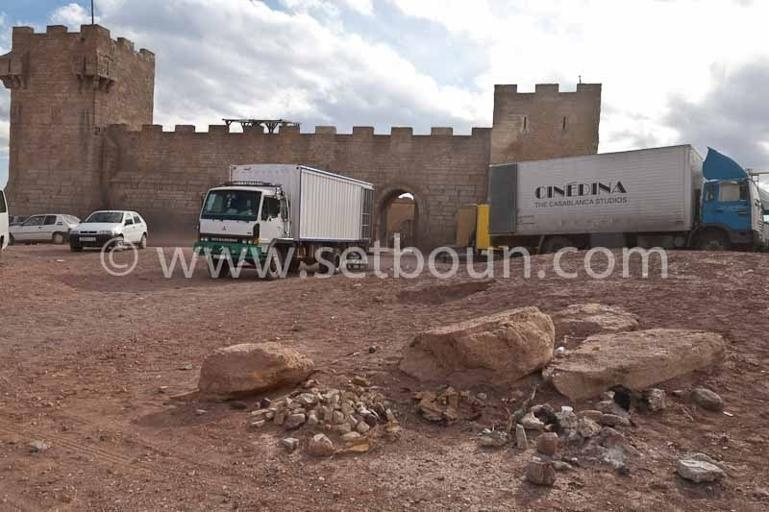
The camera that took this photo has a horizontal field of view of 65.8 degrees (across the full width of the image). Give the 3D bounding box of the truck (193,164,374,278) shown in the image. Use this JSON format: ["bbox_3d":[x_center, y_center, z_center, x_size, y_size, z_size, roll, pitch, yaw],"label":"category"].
[{"bbox_3d":[-2.930,-1.342,20.842,2.481,3.620,8.178,5,9,26],"label":"truck"}]

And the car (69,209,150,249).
[{"bbox_3d":[-11.310,-0.992,24.524,1.640,1.609,2.983,3,8,10],"label":"car"}]
